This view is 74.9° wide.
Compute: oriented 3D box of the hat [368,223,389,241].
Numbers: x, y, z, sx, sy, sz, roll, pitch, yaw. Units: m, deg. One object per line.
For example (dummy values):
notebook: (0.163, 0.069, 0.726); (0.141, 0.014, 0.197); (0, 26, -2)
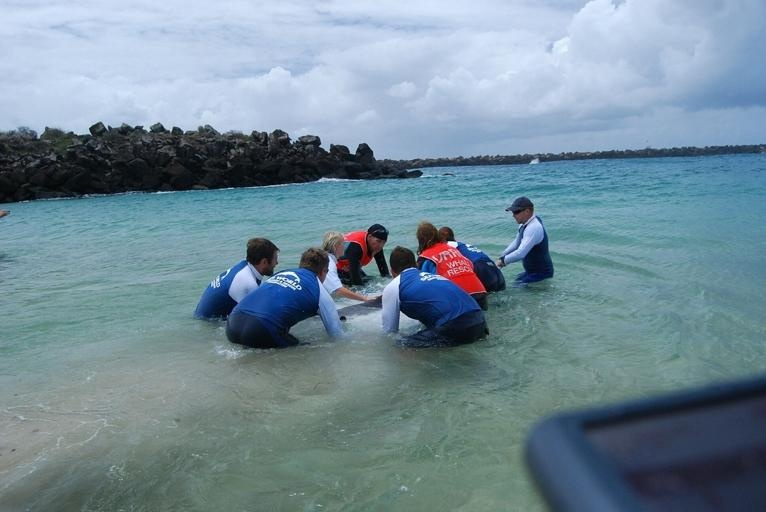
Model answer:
hat: (-0.141, -0.452, 9.304); (0.405, 0.213, 0.280); (5, 0, 28)

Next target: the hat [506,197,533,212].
hat: (2.574, -0.964, 9.398); (0.594, 0.252, 0.331); (-1, 6, 1)
